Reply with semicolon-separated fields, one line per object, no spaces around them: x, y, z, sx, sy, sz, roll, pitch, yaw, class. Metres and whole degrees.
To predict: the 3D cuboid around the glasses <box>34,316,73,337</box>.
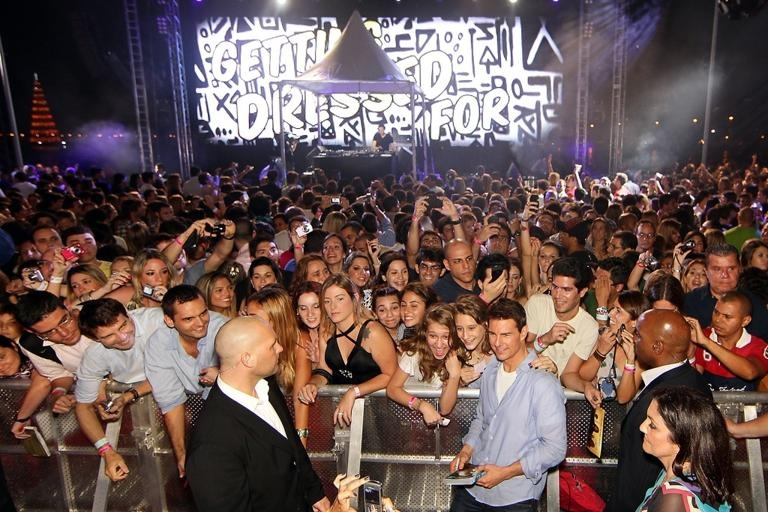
-2.979;0.642;4.689;0.204;0.064;0.198;-44;29;-26;glasses

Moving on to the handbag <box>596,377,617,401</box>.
1.954;1.172;4.544;0.205;0.221;0.058;1;-5;-9;handbag

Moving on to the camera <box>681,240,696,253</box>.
3.601;-0.113;6.043;0.160;0.177;0.069;13;11;10;camera

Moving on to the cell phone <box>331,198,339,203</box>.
-0.868;-1.009;9.146;0.107;0.028;0.105;3;22;-2;cell phone

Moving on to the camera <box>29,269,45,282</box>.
-3.678;0.215;5.447;0.112;0.123;0.082;-23;-1;-4;camera

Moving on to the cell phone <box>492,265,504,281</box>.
1.201;0.184;5.486;0.100;0.139;0.143;16;-36;14;cell phone

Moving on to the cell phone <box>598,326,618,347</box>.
2.051;0.738;4.660;0.147;0.155;0.204;1;1;41;cell phone
